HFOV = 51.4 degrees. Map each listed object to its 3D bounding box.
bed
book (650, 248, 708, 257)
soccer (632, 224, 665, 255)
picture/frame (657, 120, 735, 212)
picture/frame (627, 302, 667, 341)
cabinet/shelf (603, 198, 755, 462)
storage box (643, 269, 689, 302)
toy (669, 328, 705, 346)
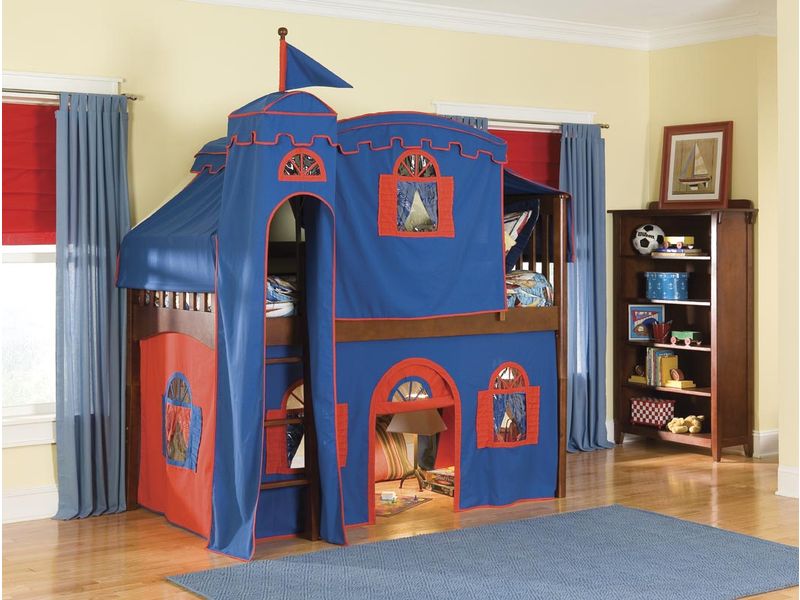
[{"bbox_3d":[-0.247,0.527,5.283,2.807,2.249,1.717,-4,6,-35],"label":"bed"},{"bbox_3d":[2.164,-0.361,6.286,0.443,0.091,0.406,4,6,38],"label":"book"},{"bbox_3d":[1.887,-0.465,6.385,0.222,0.287,0.222,1,1,8],"label":"soccer"},{"bbox_3d":[2.278,-1.041,6.328,0.067,0.957,0.720,5,-3,-39],"label":"picture/frame"},{"bbox_3d":[1.903,0.168,6.405,0.274,0.304,0.027,0,0,-13],"label":"picture/frame"},{"bbox_3d":[2.138,0.186,6.337,1.066,1.899,0.505,4,6,43],"label":"cabinet/shelf"},{"bbox_3d":[2.016,-0.116,6.305,0.230,0.161,0.240,1,0,35],"label":"storage box"},{"bbox_3d":[2.155,0.281,6.252,0.232,0.099,0.270,1,5,19],"label":"toy"}]
